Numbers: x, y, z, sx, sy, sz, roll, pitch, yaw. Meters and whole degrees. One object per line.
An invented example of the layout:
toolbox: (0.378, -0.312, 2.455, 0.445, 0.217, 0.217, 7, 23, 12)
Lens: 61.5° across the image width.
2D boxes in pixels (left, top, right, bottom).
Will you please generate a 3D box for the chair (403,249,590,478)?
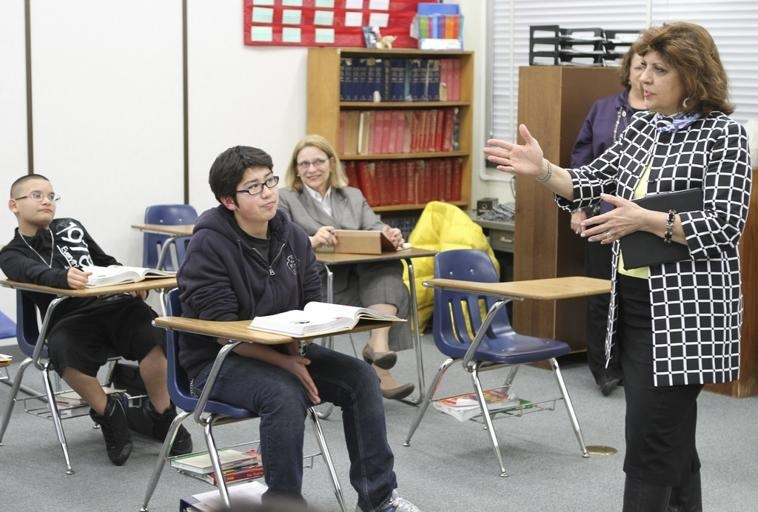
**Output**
chair: (0.703, 0.565, 3.689, 0.831, 1.094, 0.863, 0, 3, -41)

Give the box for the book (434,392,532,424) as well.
book: (0.612, 0.898, 3.754, 0.358, 0.067, 0.334, -2, 5, -31)

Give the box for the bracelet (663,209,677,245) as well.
bracelet: (0.984, -0.094, 2.149, 0.025, 0.102, 0.036, 6, 12, 36)

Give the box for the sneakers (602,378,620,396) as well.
sneakers: (1.663, 0.926, 4.537, 0.085, 0.093, 0.155, 3, -15, -13)

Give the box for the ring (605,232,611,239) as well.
ring: (0.806, -0.071, 2.236, 0.028, 0.016, 0.007, 9, 14, 43)

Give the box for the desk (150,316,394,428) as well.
desk: (-0.549, 0.327, 2.622, 0.567, 0.347, 0.777, 5, 4, 30)

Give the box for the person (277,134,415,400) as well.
person: (-0.169, 0.015, 4.302, 0.806, 1.590, 1.601, -8, 10, -27)

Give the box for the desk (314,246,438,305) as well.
desk: (-0.087, 0.048, 4.186, 0.534, 0.460, 0.541, 2, 4, 35)

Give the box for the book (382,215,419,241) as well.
book: (0.194, -0.260, 5.818, 0.350, 0.303, 0.181, 3, -3, -41)

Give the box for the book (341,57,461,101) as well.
book: (0.240, -1.786, 6.430, 1.333, 0.437, 0.114, -5, 11, -23)

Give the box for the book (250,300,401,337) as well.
book: (-0.231, 0.257, 2.550, 0.380, 0.073, 0.468, 7, 12, 42)

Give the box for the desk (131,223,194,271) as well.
desk: (-1.712, -0.088, 5.012, 0.362, 0.306, 0.444, 6, 4, 39)

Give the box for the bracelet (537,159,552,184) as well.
bracelet: (0.628, -0.327, 2.433, 0.038, 0.085, 0.069, 7, -6, -11)
